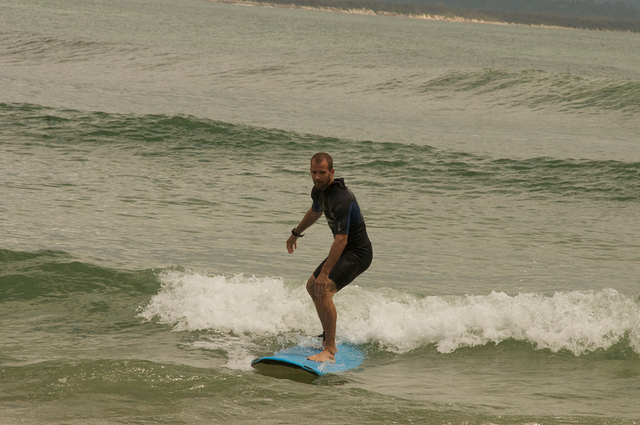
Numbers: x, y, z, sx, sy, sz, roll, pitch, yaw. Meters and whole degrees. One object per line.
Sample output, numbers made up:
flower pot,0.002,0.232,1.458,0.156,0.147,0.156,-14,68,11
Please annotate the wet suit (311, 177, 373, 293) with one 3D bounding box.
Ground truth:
wet suit,0.672,0.606,36.465,1.222,3.184,1.309,-7,21,-31

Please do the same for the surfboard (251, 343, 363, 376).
surfboard,0.065,4.280,36.608,1.895,0.354,3.194,6,10,31
